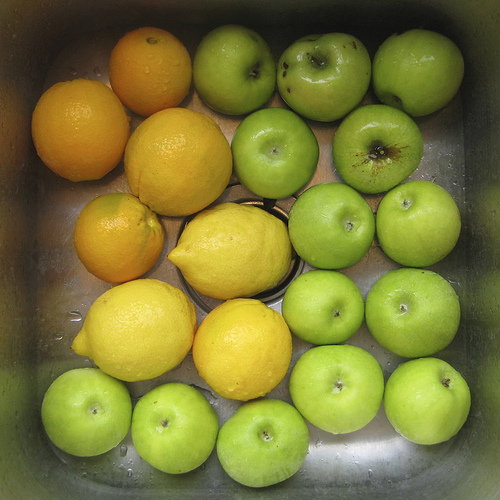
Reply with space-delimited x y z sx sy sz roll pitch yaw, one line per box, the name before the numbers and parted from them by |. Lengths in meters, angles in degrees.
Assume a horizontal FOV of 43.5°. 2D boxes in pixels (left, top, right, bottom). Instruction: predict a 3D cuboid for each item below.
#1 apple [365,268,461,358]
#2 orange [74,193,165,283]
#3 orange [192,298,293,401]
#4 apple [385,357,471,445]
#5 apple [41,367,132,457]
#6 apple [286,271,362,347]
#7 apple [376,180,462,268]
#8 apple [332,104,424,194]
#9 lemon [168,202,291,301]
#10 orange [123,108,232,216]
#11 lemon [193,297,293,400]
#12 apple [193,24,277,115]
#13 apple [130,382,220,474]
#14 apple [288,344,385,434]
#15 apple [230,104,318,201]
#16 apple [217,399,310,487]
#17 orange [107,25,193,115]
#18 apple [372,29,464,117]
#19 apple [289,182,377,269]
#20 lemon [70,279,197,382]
apple | 0.257 0.099 0.983 0.127 0.126 0.147 -1 87 15
orange | -0.214 -0.011 1.005 0.139 0.110 0.154 -5 31 0
orange | -0.006 0.149 0.989 0.133 0.114 0.149 41 91 16
apple | 0.276 0.234 0.964 0.116 0.131 0.120 -3 39 15
apple | -0.262 0.253 0.987 0.131 0.075 0.127 2 66 13
apple | 0.125 0.095 1.040 0.105 0.116 0.123 2 67 3
apple | 0.277 -0.056 1.040 0.134 0.140 0.144 -7 86 31
apple | 0.205 -0.160 0.950 0.124 0.071 0.140 -7 102 2
lemon | -0.021 0.006 1.012 0.196 0.135 0.163 -10 61 -12
orange | -0.107 -0.132 0.946 0.150 0.161 0.125 -12 33 -16
lemon | -0.001 0.152 0.982 0.112 0.136 0.153 36 87 -21
apple | -0.027 -0.284 1.031 0.122 0.128 0.142 -7 105 -5
apple | -0.120 0.288 1.011 0.139 0.143 0.161 -2 110 -9
apple | 0.137 0.215 1.031 0.127 0.138 0.138 -8 80 1
apple | 0.040 -0.154 1.040 0.128 0.101 0.149 -1 93 -8
apple | 0.014 0.270 0.952 0.136 0.090 0.126 -20 88 -9
orange | -0.166 -0.283 1.021 0.104 0.102 0.109 -14 62 -25
apple | 0.297 -0.279 1.028 0.114 0.117 0.127 -16 85 7
apple | 0.138 -0.059 1.035 0.143 0.146 0.164 12 110 40
lemon | -0.172 0.116 1.000 0.187 0.170 0.177 -3 113 1
